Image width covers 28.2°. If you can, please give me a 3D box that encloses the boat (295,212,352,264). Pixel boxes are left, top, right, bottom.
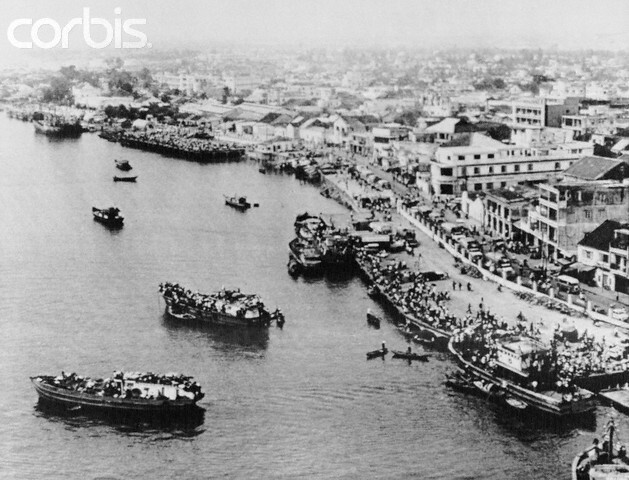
[{"bbox_3d":[0.157,-0.017,18.056,0.349,0.401,1.569,1,17,-12],"label":"boat"}]

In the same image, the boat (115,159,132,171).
[{"bbox_3d":[-3.726,-1.430,24.242,0.149,0.184,0.496,-8,13,-27],"label":"boat"}]

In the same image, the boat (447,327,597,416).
[{"bbox_3d":[2.288,1.489,14.122,0.764,0.559,1.445,-23,37,-35],"label":"boat"}]

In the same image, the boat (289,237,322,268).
[{"bbox_3d":[-0.139,0.200,17.550,0.209,0.222,0.712,-5,11,-12],"label":"boat"}]

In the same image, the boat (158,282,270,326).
[{"bbox_3d":[-1.254,0.859,15.720,1.351,0.435,0.539,11,4,31],"label":"boat"}]
